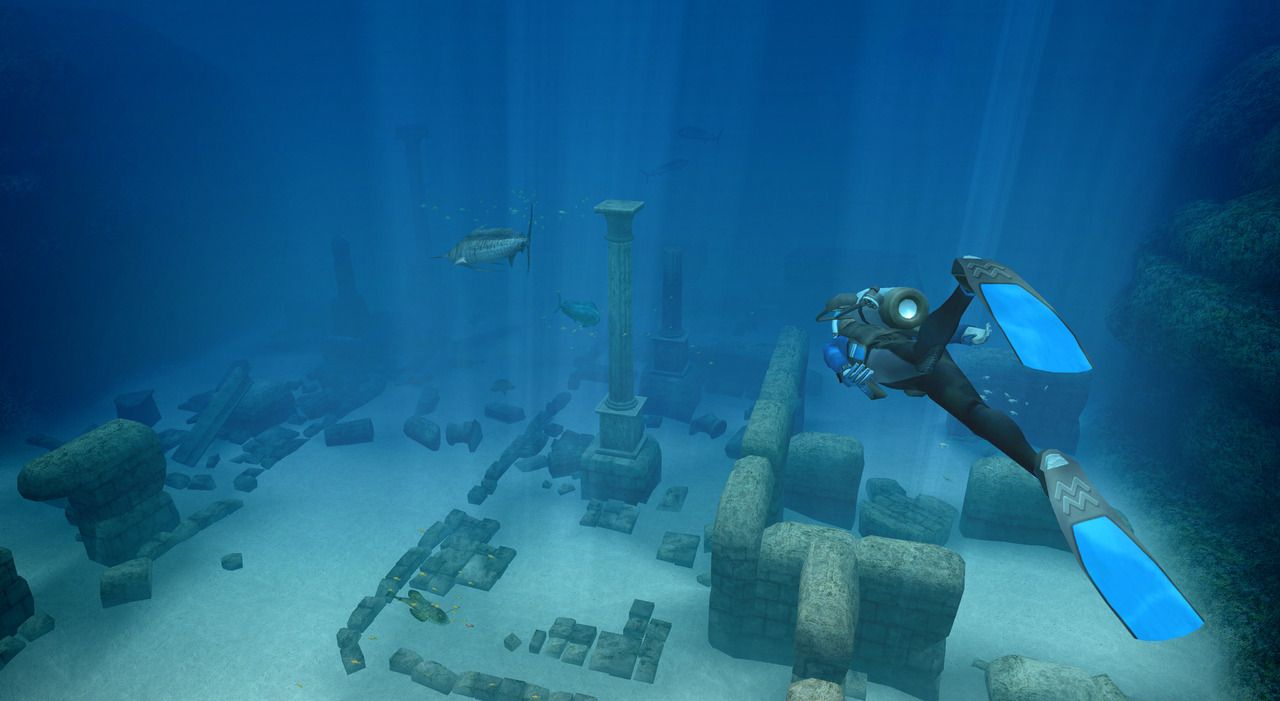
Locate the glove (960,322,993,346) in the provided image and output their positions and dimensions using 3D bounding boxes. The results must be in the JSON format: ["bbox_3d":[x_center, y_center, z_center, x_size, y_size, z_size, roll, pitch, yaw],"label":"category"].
[{"bbox_3d":[6.485,-0.329,14.998,0.559,0.761,0.312,3,-69,26],"label":"glove"}]

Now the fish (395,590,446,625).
[{"bbox_3d":[-4.382,5.216,15.720,0.883,0.582,0.217,31,-52,8],"label":"fish"}]
